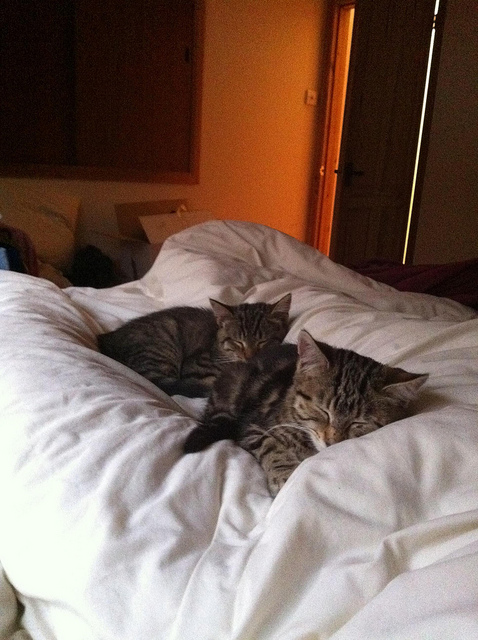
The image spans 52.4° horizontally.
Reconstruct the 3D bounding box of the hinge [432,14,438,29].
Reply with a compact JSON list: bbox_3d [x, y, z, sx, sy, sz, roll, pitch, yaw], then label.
[{"bbox_3d":[1.720,-2.624,4.248,0.026,0.100,0.017,10,21,15],"label":"hinge"}]

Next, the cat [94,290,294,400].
[{"bbox_3d":[-0.176,0.061,1.513,0.667,0.387,0.276,3,4,3],"label":"cat"}]

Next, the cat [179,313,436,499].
[{"bbox_3d":[0.132,0.176,1.018,0.282,0.166,0.392,-4,16,15],"label":"cat"}]
